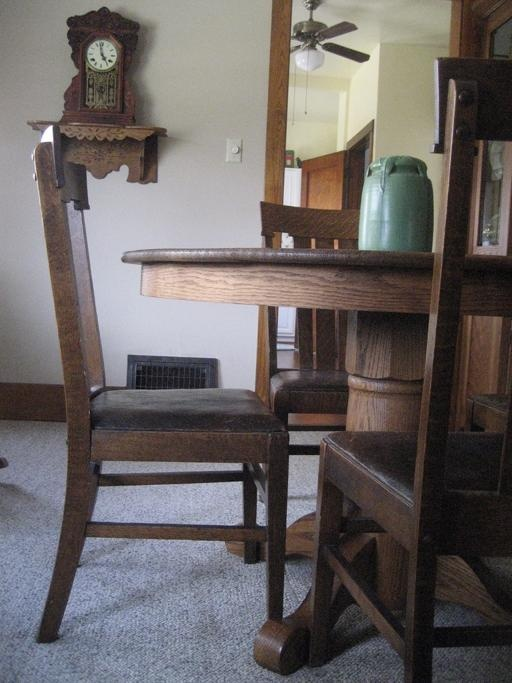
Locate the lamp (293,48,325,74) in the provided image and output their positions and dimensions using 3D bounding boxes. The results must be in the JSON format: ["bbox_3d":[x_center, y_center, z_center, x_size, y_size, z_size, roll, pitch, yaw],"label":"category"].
[{"bbox_3d":[0.356,-1.863,4.071,0.211,0.144,0.199,0,31,0],"label":"lamp"}]
